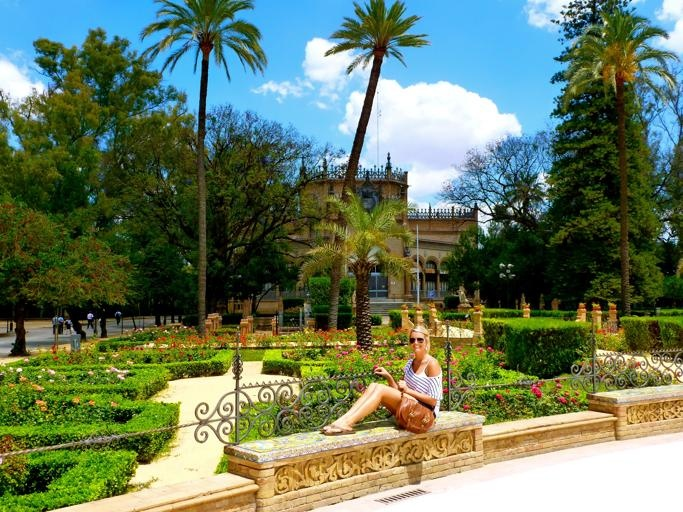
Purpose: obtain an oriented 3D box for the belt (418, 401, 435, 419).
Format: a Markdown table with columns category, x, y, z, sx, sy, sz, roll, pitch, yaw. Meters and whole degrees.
| category | x | y | z | sx | sy | sz | roll | pitch | yaw |
| --- | --- | --- | --- | --- | --- | --- | --- | --- | --- |
| belt | 1.334 | 2.383 | 10.201 | 0.267 | 0.296 | 0.284 | 1 | -4 | -2 |
